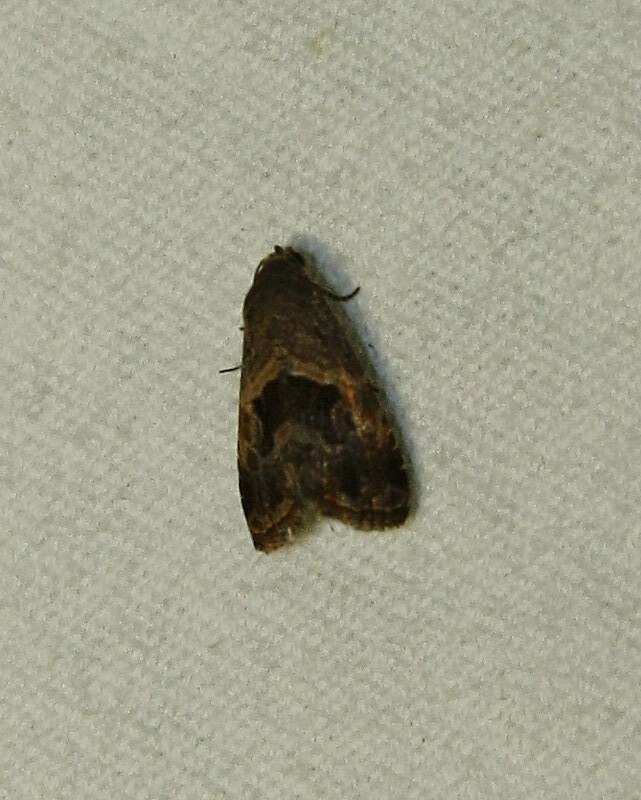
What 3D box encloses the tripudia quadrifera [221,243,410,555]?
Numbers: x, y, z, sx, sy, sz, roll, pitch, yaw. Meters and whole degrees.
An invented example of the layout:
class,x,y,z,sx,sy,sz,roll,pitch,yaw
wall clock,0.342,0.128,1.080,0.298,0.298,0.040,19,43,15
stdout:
class,x,y,z,sx,sy,sz,roll,pitch,yaw
tripudia quadrifera,0.004,-0.011,2.357,0.245,0.148,0.365,-3,72,-4
